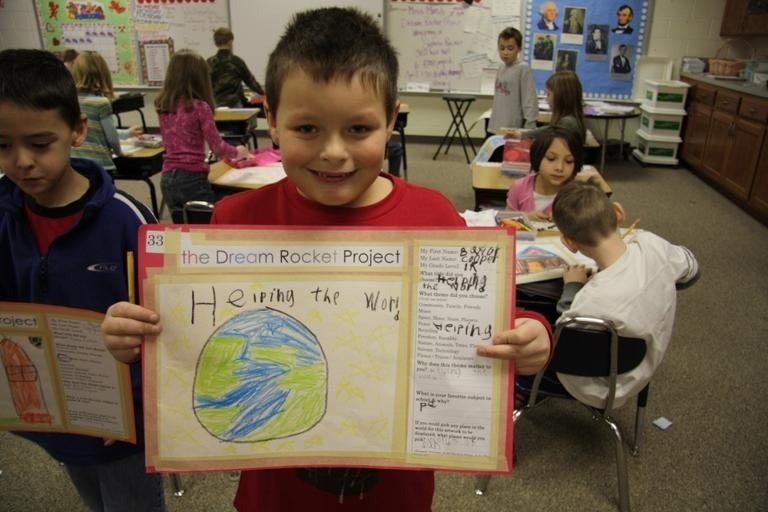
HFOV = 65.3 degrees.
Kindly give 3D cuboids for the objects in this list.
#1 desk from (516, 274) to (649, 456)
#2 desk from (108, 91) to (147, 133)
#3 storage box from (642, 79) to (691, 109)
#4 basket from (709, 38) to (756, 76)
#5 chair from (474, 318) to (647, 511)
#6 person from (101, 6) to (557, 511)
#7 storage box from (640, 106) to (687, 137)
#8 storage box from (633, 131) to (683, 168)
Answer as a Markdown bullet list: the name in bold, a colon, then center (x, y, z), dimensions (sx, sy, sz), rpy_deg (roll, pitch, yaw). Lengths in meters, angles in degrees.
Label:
- **desk**: center (0.825, 0.607, 2.630), dimensions (0.534, 0.789, 0.563), rpy_deg (7, 10, 24)
- **desk**: center (-2.385, -1.348, 5.591), dimensions (0.331, 0.261, 0.280), rpy_deg (-7, 12, -34)
- **storage box**: center (3.130, -1.775, 6.687), dimensions (0.374, 0.226, 0.372), rpy_deg (-2, 24, 1)
- **basket**: center (3.628, -2.083, 6.364), dimensions (0.257, 0.260, 0.183), rpy_deg (6, 21, -1)
- **chair**: center (0.692, 0.629, 2.291), dimensions (0.620, 0.871, 0.635), rpy_deg (3, 41, 10)
- **person**: center (-0.108, 0.047, 1.641), dimensions (1.134, 1.323, 0.602), rpy_deg (6, 26, 12)
- **storage box**: center (3.124, -1.492, 6.712), dimensions (0.392, 0.235, 0.389), rpy_deg (-1, 19, -2)
- **storage box**: center (3.168, -1.301, 7.037), dimensions (0.479, 0.497, 0.629), rpy_deg (5, 15, 6)
